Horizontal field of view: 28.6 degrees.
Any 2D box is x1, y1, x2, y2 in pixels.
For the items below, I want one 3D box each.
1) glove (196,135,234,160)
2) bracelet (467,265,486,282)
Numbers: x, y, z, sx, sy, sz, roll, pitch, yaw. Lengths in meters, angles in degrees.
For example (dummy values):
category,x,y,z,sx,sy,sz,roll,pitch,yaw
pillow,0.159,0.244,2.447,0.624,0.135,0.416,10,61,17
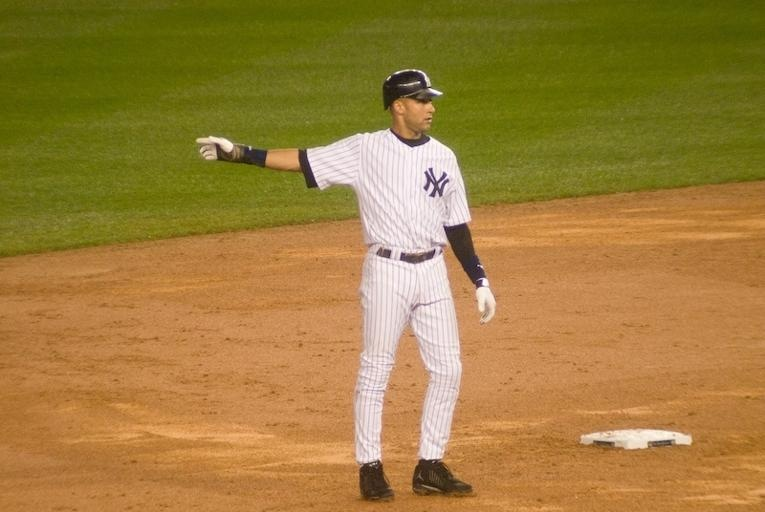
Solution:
category,x,y,z,sx,sy,sz,roll,pitch,yaw
glove,-2.836,-1.841,25.315,0.605,0.390,0.414,-2,2,-4
bracelet,1.556,0.285,25.810,0.133,0.180,0.363,10,8,-20
